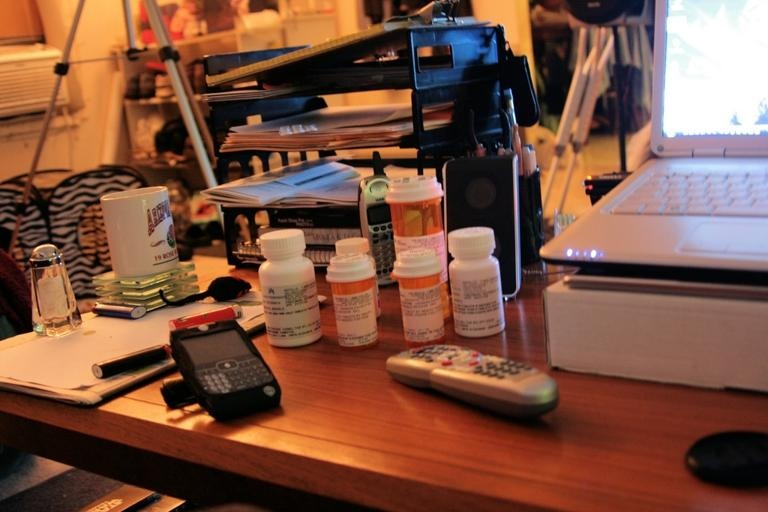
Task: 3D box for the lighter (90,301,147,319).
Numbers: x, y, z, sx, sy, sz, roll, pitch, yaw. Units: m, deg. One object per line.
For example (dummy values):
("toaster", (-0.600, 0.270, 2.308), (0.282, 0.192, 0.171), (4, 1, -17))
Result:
("lighter", (-0.442, 0.089, 1.049), (0.080, 0.024, 0.018), (-1, -23, 22))
